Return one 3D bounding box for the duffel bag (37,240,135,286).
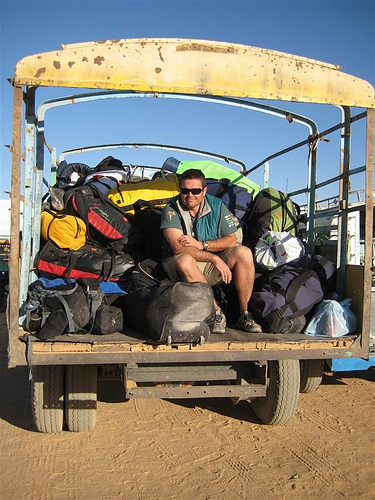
[{"bbox_3d":[-0.914,0.142,4.152,0.673,0.235,0.439,9,15,-14],"label":"duffel bag"}]

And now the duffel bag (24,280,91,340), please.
[{"bbox_3d":[-0.918,0.382,3.224,0.528,0.303,0.606,-1,10,-21],"label":"duffel bag"}]

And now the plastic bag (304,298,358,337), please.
[{"bbox_3d":[1.097,0.516,3.519,0.330,0.284,0.267,1,0,-35],"label":"plastic bag"}]

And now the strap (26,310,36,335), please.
[{"bbox_3d":[-1.043,0.475,3.080,0.040,0.142,0.081,1,0,-5],"label":"strap"}]

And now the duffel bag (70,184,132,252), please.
[{"bbox_3d":[-0.820,-0.321,4.494,0.659,0.261,0.527,48,21,27],"label":"duffel bag"}]

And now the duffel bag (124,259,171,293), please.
[{"bbox_3d":[-0.379,0.185,4.112,0.558,0.245,0.406,0,12,-30],"label":"duffel bag"}]

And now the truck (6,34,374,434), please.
[{"bbox_3d":[0.024,-0.196,4.872,2.607,2.243,4.090,1,3,-4],"label":"truck"}]

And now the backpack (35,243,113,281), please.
[{"bbox_3d":[-0.983,0.115,4.128,0.546,0.191,0.346,8,19,-19],"label":"backpack"}]

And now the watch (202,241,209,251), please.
[{"bbox_3d":[0.156,-0.035,3.928,0.018,0.058,0.063,14,-16,-28],"label":"watch"}]

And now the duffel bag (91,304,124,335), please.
[{"bbox_3d":[-0.543,0.489,3.276,0.226,0.193,0.153,-7,12,-35],"label":"duffel bag"}]

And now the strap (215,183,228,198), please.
[{"bbox_3d":[0.383,-0.664,5.178,0.046,0.156,0.168,30,5,-22],"label":"strap"}]

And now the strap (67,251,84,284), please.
[{"bbox_3d":[-1.010,0.149,4.101,0.154,0.239,0.099,9,7,-41],"label":"strap"}]

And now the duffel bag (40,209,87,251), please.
[{"bbox_3d":[-1.146,-0.178,4.348,0.469,0.262,0.218,15,-10,32],"label":"duffel bag"}]
